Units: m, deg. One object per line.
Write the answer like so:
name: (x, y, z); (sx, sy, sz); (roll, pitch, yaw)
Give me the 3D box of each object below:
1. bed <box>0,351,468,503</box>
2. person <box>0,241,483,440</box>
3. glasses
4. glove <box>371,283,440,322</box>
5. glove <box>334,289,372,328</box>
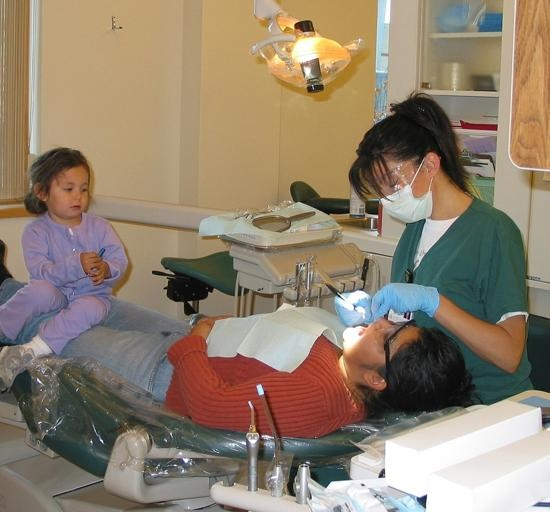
bed: (-0.280, 0.411, 1.259); (0.758, 0.159, 0.450); (8, -7, 27)
person: (-0.101, 0.265, 1.420); (1.058, 0.350, 0.524); (16, 5, 26)
glasses: (0.301, 0.245, 1.294); (0.046, 0.138, 0.140); (11, 22, 8)
glove: (0.342, 0.118, 1.324); (0.104, 0.057, 0.133); (0, -12, -39)
glove: (0.246, 0.159, 1.582); (0.111, 0.082, 0.118); (0, 8, 16)
